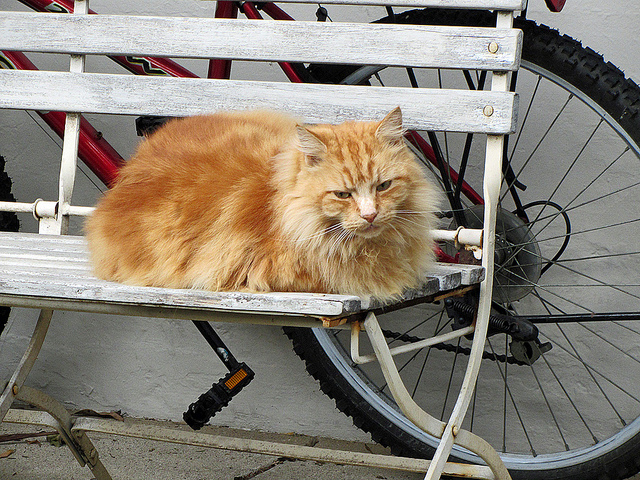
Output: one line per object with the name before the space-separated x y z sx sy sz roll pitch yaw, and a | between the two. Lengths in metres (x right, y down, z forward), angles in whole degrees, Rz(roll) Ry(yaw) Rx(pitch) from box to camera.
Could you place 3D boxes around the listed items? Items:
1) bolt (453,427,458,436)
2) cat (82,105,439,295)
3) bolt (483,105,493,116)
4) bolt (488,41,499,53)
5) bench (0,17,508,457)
bolt | 0.376 0.523 1.976 0.008 0.016 0.021 -5 40 17
cat | -0.155 -0.082 1.960 0.878 0.350 0.547 5 29 9
bolt | 0.533 -0.404 2.258 0.022 0.025 0.032 -32 51 -28
bolt | 0.550 -0.605 2.264 0.027 0.027 0.028 -26 49 -24
bench | -0.152 -0.030 2.319 1.989 1.127 0.802 3 15 10
